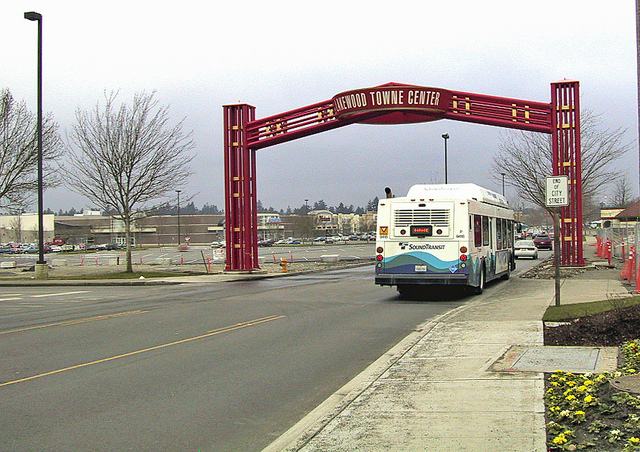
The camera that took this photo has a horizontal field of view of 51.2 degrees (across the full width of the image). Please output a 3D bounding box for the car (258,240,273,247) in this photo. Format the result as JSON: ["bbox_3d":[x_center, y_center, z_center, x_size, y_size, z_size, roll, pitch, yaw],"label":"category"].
[{"bbox_3d":[-8.508,2.736,104.012,1.785,0.771,1.060,-2,4,-1],"label":"car"}]

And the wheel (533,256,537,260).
[{"bbox_3d":[14.260,2.077,44.548,0.229,0.373,0.221,0,-3,0],"label":"wheel"}]

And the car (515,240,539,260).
[{"bbox_3d":[13.633,1.619,44.373,1.372,1.197,1.756,-1,4,15],"label":"car"}]

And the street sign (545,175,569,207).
[{"bbox_3d":[5.911,-0.853,16.727,0.511,0.776,0.825,-1,4,17],"label":"street sign"}]

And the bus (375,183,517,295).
[{"bbox_3d":[5.224,0.292,24.684,3.584,3.412,9.536,0,-1,24],"label":"bus"}]

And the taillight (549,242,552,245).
[{"bbox_3d":[20.501,1.498,59.708,0.220,0.295,0.076,-2,2,-35],"label":"taillight"}]

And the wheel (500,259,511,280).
[{"bbox_3d":[7.300,1.692,26.430,0.251,0.703,0.713,0,25,18],"label":"wheel"}]

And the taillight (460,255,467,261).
[{"bbox_3d":[4.346,0.949,20.255,0.185,0.176,0.057,2,-3,13],"label":"taillight"}]

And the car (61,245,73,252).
[{"bbox_3d":[-37.150,3.374,98.370,1.804,0.782,1.174,0,-1,8],"label":"car"}]

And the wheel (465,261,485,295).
[{"bbox_3d":[4.920,1.592,21.271,0.378,1.129,1.172,-2,3,17],"label":"wheel"}]
